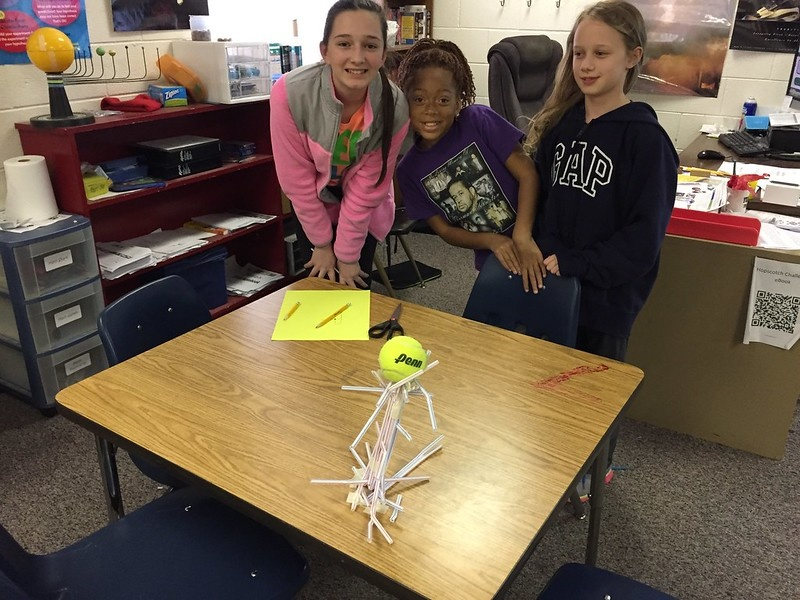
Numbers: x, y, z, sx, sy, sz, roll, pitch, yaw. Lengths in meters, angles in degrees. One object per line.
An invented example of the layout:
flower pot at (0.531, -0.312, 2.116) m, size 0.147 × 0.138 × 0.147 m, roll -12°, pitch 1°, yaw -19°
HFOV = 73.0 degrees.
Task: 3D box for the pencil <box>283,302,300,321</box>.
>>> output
pencil at (-0.356, 0.040, 1.790) m, size 0.018 × 0.009 × 0.089 m, roll 3°, pitch 29°, yaw 19°

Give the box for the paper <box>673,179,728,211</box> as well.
paper at (1.386, -0.478, 2.501) m, size 0.207 × 0.077 × 0.206 m, roll 21°, pitch 43°, yaw 36°

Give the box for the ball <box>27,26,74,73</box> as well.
ball at (-1.531, -1.094, 2.381) m, size 0.148 × 0.184 × 0.124 m, roll 11°, pitch 26°, yaw 21°

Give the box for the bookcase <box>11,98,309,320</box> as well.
bookcase at (-1.248, -0.487, 2.728) m, size 0.335 × 0.911 × 1.046 m, roll 11°, pitch 26°, yaw 31°

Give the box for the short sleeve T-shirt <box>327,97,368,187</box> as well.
short sleeve T-shirt at (-0.206, -0.597, 2.112) m, size 0.058 × 0.247 × 0.145 m, roll 28°, pitch 24°, yaw 32°

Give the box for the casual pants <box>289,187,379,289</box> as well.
casual pants at (-0.263, -0.332, 2.564) m, size 0.404 × 0.615 × 0.408 m, roll -4°, pitch 29°, yaw -7°

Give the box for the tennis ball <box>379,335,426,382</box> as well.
tennis ball at (0.007, 0.112, 1.071) m, size 0.085 × 0.086 × 0.086 m, roll 9°, pitch 7°, yaw -1°

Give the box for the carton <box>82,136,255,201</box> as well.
carton at (-1.325, -0.716, 2.880) m, size 0.315 × 0.208 × 0.757 m, roll 21°, pitch 31°, yaw 37°

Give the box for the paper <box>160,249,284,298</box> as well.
paper at (-1.060, -0.209, 3.407) m, size 0.322 × 0.143 × 0.430 m, roll 12°, pitch 27°, yaw 22°

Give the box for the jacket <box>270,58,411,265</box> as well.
jacket at (-0.242, -0.545, 2.209) m, size 0.524 × 0.708 × 0.402 m, roll -1°, pitch 48°, yaw -10°
